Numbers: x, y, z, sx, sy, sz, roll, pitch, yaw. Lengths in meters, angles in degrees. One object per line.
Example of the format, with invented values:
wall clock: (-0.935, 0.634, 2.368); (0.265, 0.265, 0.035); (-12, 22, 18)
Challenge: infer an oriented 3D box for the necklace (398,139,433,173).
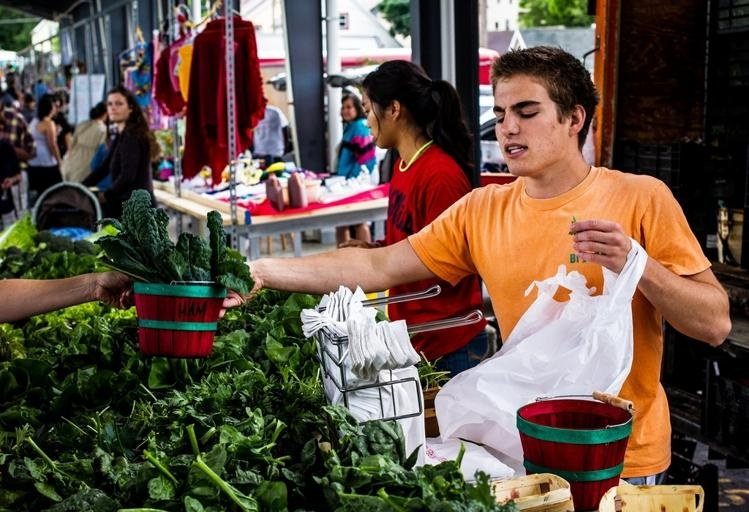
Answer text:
necklace: (0.211, -0.505, 3.676); (0.154, 0.038, 0.155); (-43, -8, -8)

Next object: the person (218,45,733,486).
person: (0.572, 0.025, 2.907); (1.509, 1.675, 0.553); (2, 6, 31)

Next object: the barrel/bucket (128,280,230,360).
barrel/bucket: (-0.682, 0.215, 2.543); (0.263, 0.216, 0.281); (0, -5, 0)
